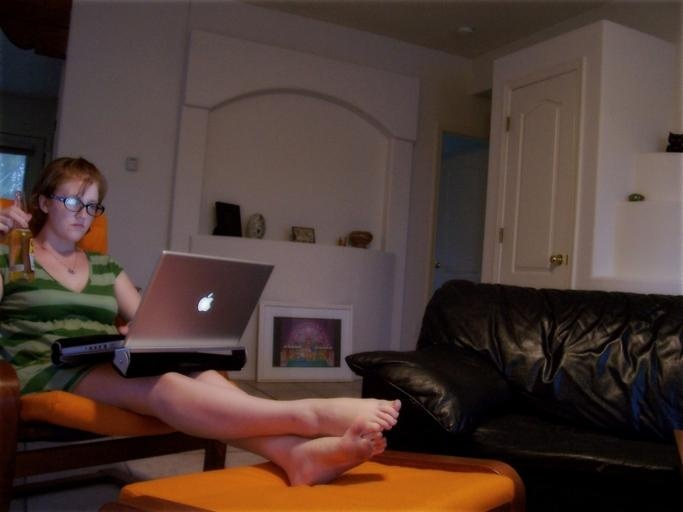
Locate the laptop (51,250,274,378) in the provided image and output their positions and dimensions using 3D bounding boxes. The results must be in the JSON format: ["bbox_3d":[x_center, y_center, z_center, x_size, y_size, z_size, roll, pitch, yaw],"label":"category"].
[{"bbox_3d":[-0.594,0.206,1.902,0.503,0.358,0.516,-3,-13,41],"label":"laptop"}]

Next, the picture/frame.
[{"bbox_3d":[-0.357,0.748,4.590,0.813,0.668,0.077,4,-15,-21],"label":"picture/frame"}]
